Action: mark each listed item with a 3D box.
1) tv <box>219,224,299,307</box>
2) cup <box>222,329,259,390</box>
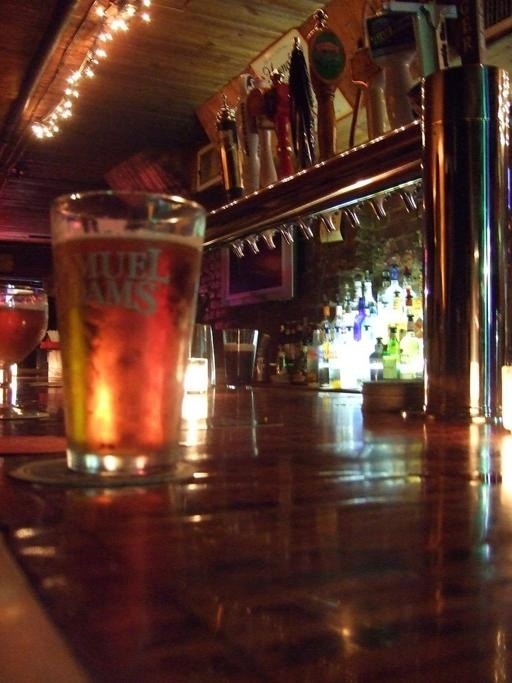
[{"bbox_3d":[0.055,-0.476,3.975,0.070,0.440,0.637,1,-3,-36],"label":"tv"},{"bbox_3d":[-0.054,0.052,1.995,0.114,0.196,0.325,1,-3,-2],"label":"cup"}]
